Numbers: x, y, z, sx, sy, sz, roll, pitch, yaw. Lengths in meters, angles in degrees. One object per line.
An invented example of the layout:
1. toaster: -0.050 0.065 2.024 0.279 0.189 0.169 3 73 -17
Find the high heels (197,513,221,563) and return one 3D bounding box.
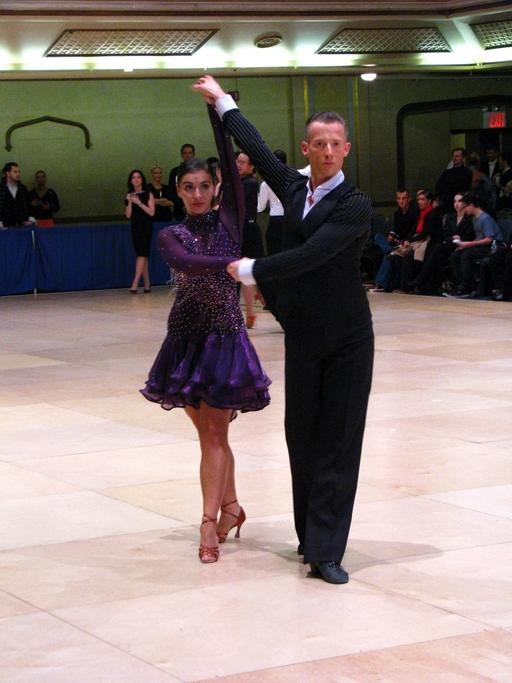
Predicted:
1. high heels: -0.196 0.832 2.653 0.075 0.079 0.213 -1 0 -5

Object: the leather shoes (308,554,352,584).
1. leather shoes: 0.276 0.866 2.441 0.068 0.061 0.175 4 -8 -36

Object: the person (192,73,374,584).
1. person: 0.132 -0.098 2.446 0.633 1.994 0.691 -2 -3 -10

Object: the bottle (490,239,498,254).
1. bottle: 4.425 -1.755 12.034 0.126 0.271 0.253 -3 -3 15
